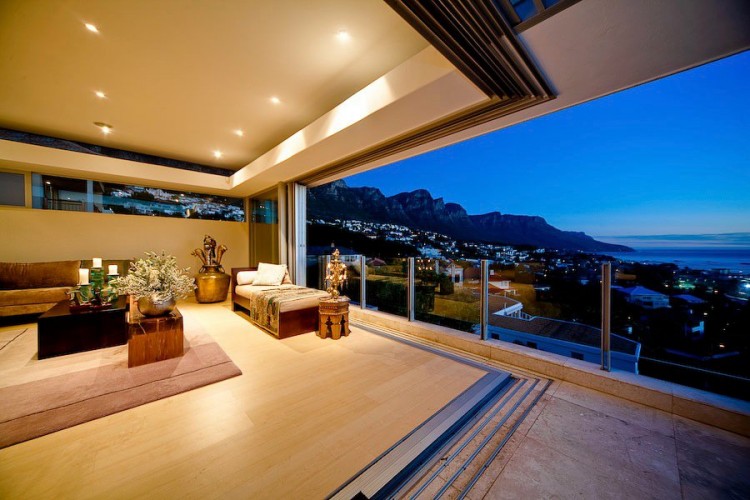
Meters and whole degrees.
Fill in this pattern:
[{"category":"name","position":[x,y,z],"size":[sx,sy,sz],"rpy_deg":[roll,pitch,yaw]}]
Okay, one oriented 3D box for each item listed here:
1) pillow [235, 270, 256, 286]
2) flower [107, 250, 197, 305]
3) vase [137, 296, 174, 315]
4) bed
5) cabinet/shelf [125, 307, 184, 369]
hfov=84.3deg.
[{"category":"pillow","position":[-2.446,0.487,7.916],"size":[0.253,0.201,0.344],"rpy_deg":[8,8,44]},{"category":"flower","position":[-2.906,0.402,5.791],"size":[1.187,0.637,1.181],"rpy_deg":[0,-4,29]},{"category":"vase","position":[-2.862,0.736,5.451],"size":[0.331,0.216,0.303],"rpy_deg":[1,1,37]},{"category":"bed","position":[-1.688,0.852,6.981],"size":[0.920,0.600,1.546],"rpy_deg":[-4,5,-39]},{"category":"cabinet/shelf","position":[-2.908,1.128,5.539],"size":[0.682,0.496,0.677],"rpy_deg":[-1,2,-36]}]
